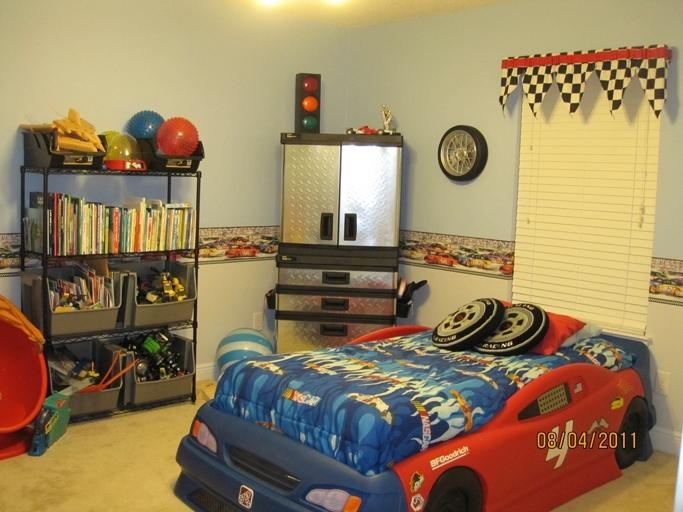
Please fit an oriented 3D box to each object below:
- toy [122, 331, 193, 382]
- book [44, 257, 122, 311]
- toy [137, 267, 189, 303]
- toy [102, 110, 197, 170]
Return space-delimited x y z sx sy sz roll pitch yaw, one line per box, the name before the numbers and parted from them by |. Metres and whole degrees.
toy | -1.486 0.809 4.285 0.457 0.248 0.454 11 14 41
book | -1.936 0.228 3.929 0.497 0.289 0.397 -3 11 -29
toy | -1.515 0.227 4.300 0.264 0.156 0.351 -2 7 -34
toy | -1.489 -0.855 4.080 0.495 0.250 0.682 -1 3 -37
